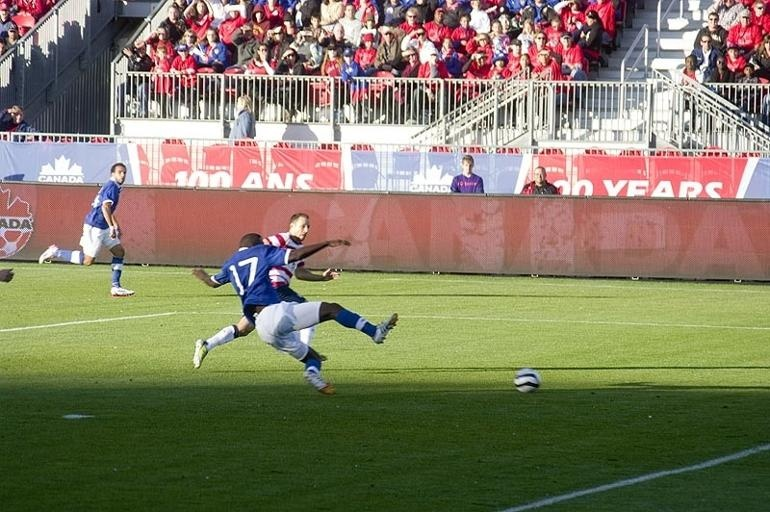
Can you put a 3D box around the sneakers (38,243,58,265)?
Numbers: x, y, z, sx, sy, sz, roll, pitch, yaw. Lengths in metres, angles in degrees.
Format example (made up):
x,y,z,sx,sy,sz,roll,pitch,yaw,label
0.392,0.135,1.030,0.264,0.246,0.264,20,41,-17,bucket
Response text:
x,y,z,sx,sy,sz,roll,pitch,yaw,label
-7.936,-0.113,36.927,0.229,0.477,0.265,51,0,26,sneakers

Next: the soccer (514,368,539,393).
x,y,z,sx,sy,sz,roll,pitch,yaw,label
2.210,1.945,24.914,0.404,0.349,0.266,1,10,4,soccer

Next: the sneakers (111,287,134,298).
x,y,z,sx,sy,sz,roll,pitch,yaw,label
-5.572,0.720,33.124,0.530,0.206,0.181,-2,14,-3,sneakers

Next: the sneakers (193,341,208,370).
x,y,z,sx,sy,sz,roll,pitch,yaw,label
-3.063,1.570,25.925,0.257,0.487,0.202,11,11,-6,sneakers
